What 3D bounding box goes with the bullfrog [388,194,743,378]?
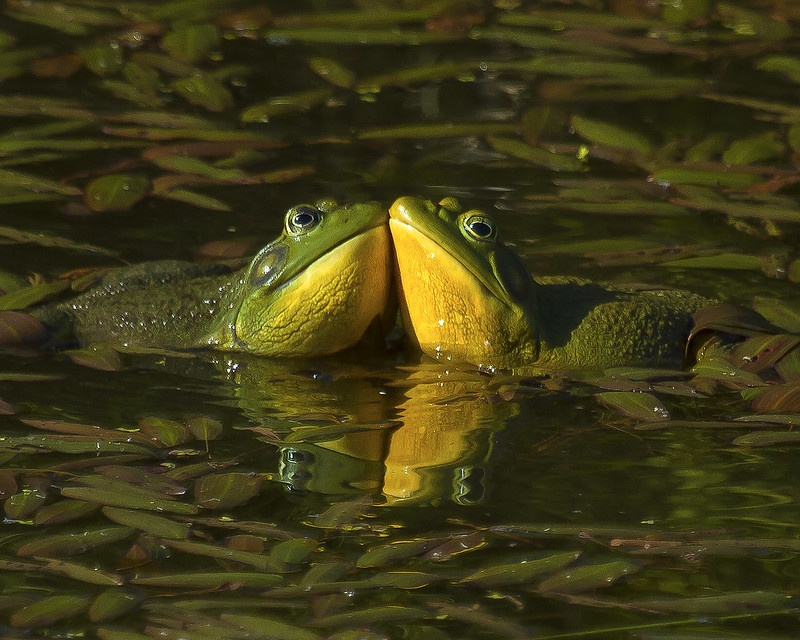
[{"bbox_3d":[0.636,-0.079,3.727,1.570,0.434,1.000,4,7,-35],"label":"bullfrog"}]
